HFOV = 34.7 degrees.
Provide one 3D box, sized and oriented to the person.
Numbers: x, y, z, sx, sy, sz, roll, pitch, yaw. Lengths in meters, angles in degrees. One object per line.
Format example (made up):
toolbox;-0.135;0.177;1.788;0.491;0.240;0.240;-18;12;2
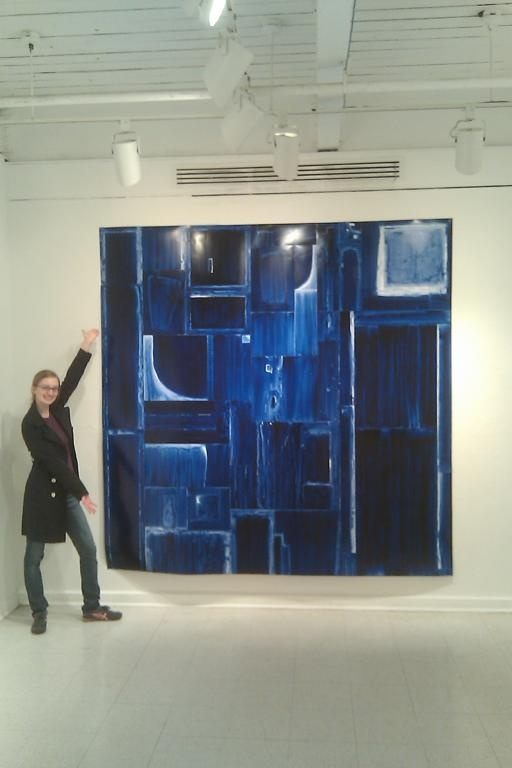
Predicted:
person;-0.949;0.471;4.085;0.439;1.436;0.441;-3;6;-21

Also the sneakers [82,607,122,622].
sneakers;-0.771;1.163;4.086;0.192;0.118;0.084;1;-7;-6

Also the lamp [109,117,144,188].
lamp;-0.578;-1.031;3.636;0.118;0.302;0.263;-1;7;-9

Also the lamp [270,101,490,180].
lamp;0.551;-1.115;3.806;1.075;0.366;0.821;-3;8;-16
